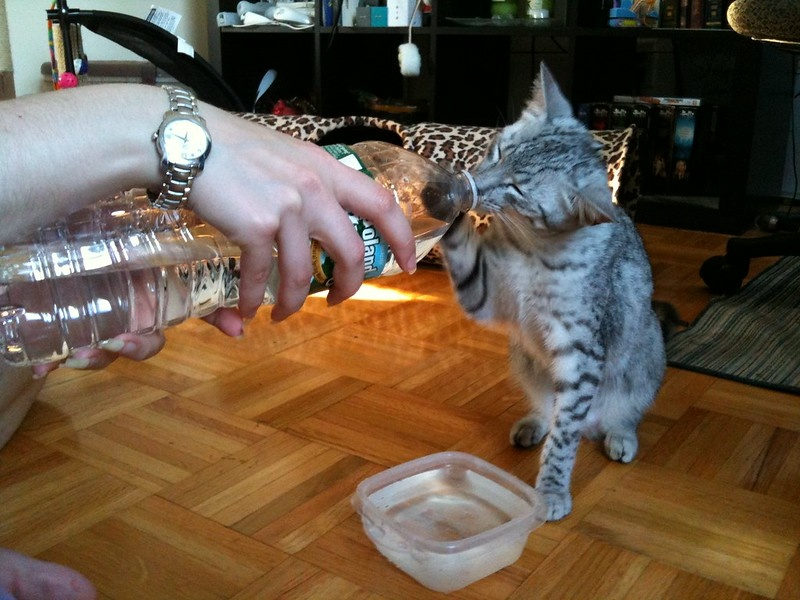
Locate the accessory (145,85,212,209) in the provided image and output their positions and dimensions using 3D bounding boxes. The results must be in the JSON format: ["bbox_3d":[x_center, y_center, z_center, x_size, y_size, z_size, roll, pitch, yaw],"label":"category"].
[{"bbox_3d":[-0.203,-0.147,0.562,0.044,0.075,0.119,13,44,-30],"label":"accessory"}]

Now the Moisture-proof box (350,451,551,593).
[{"bbox_3d":[0.079,0.332,0.935,0.246,0.082,0.236,-17,27,-37],"label":"Moisture-proof box"}]
